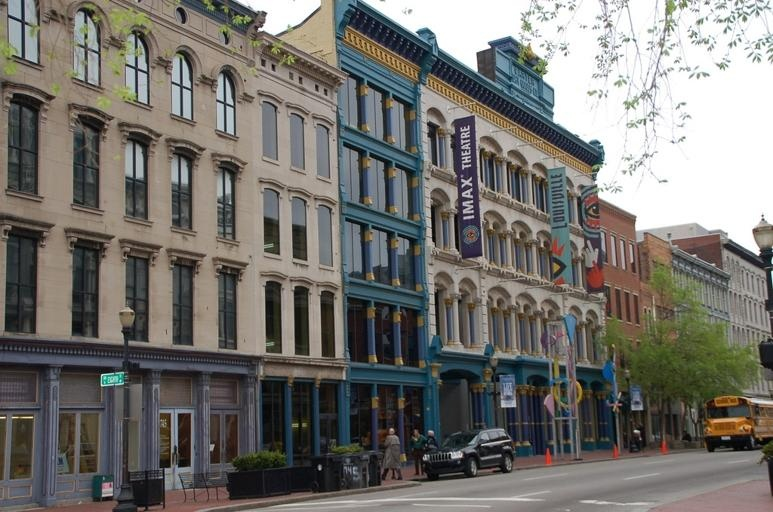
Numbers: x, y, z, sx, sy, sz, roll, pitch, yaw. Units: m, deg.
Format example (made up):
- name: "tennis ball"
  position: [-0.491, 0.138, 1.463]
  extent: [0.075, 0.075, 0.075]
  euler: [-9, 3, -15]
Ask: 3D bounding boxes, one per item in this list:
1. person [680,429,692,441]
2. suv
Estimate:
- name: "person"
  position: [22.910, 13.860, 80.458]
  extent: [0.588, 1.075, 2.997]
  euler: [-10, -21, 14]
- name: "suv"
  position: [3.898, 9.191, 49.187]
  extent: [4.821, 2.534, 1.402]
  euler: [11, -25, -36]
